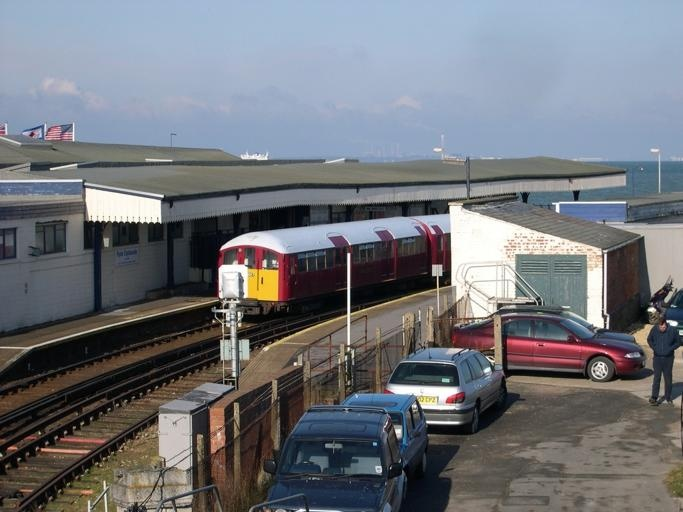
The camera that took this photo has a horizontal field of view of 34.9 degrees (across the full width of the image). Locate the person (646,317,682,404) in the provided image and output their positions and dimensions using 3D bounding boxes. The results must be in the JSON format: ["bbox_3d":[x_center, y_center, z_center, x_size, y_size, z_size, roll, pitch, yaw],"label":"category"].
[{"bbox_3d":[8.047,2.545,27.140,0.753,2.286,1.113,1,5,17],"label":"person"}]

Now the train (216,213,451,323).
[{"bbox_3d":[-0.746,0.589,42.582,3.472,3.239,17.573,2,4,28],"label":"train"}]
